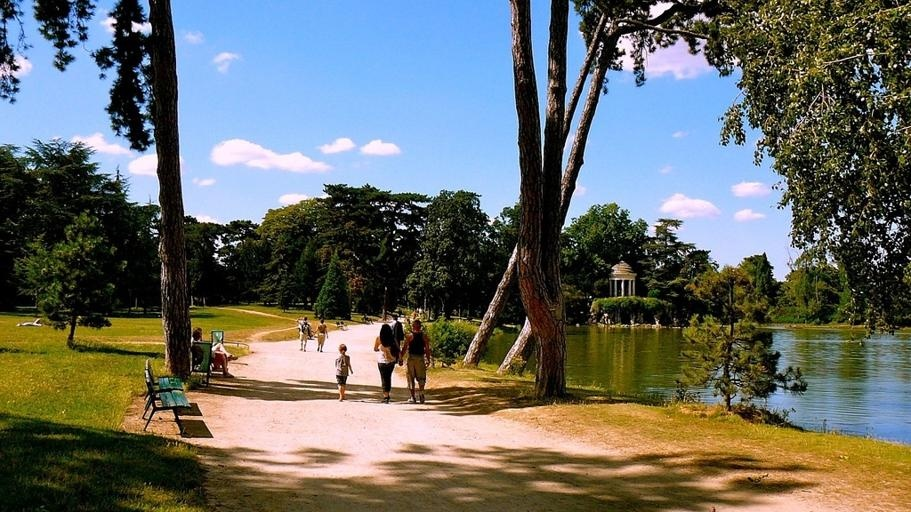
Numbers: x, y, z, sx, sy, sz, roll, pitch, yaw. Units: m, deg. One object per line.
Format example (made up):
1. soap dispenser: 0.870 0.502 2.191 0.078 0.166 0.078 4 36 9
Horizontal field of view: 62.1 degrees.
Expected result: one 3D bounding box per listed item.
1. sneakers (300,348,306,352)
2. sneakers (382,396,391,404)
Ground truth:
1. sneakers: -8.909 5.403 43.677 0.416 0.263 0.144 3 -9 -8
2. sneakers: -2.626 5.379 28.390 0.303 0.223 0.580 3 -8 -4
